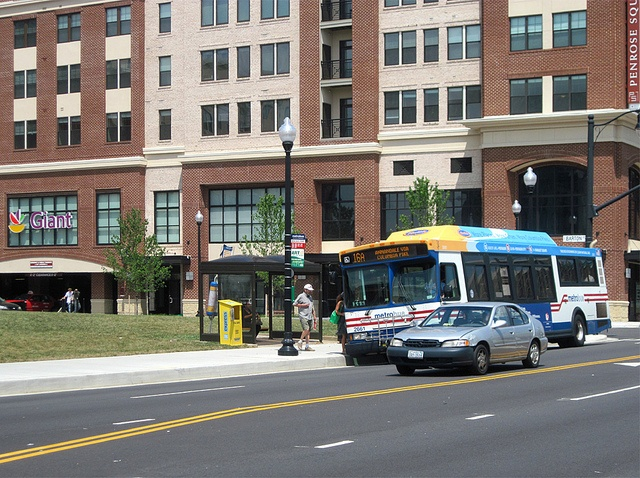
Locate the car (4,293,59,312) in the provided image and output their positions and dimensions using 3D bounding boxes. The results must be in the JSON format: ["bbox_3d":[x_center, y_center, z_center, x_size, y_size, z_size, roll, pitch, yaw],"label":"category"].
[{"bbox_3d":[-20.929,4.584,61.190,1.588,1.311,3.345,-5,-8,18],"label":"car"}]

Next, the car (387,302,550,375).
[{"bbox_3d":[4.076,2.727,22.997,4.269,1.947,1.847,3,-9,-36],"label":"car"}]
